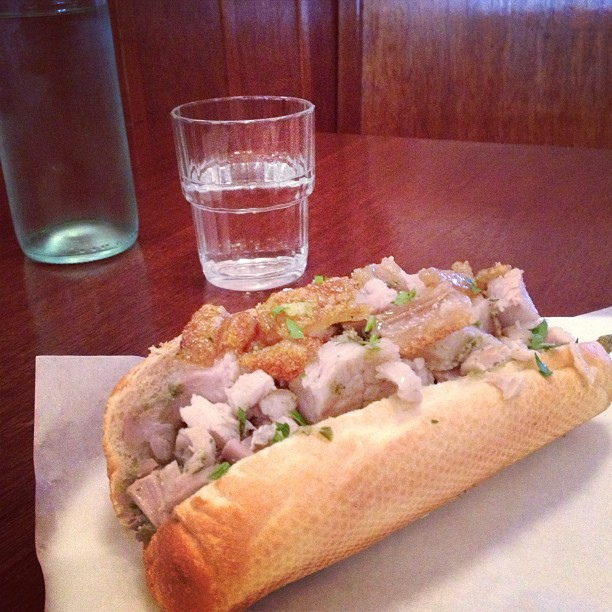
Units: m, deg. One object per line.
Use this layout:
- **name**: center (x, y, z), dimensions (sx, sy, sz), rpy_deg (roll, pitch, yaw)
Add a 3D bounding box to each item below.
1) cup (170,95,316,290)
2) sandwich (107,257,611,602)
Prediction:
- **cup**: center (-0.101, -0.230, 1.147), dimensions (0.341, 0.399, 0.349), rpy_deg (-1, 31, 1)
- **sandwich**: center (0.099, 0.140, 0.694), dimensions (0.589, 0.217, 0.304), rpy_deg (-21, 15, -15)
